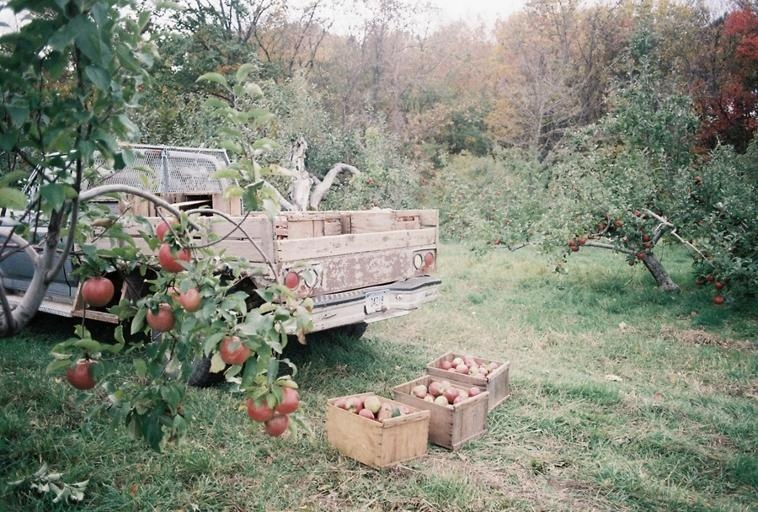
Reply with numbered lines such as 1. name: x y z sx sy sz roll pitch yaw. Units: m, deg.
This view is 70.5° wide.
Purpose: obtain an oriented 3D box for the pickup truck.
1. pickup truck: -1.956 -0.240 6.732 4.946 2.172 3.021 6 8 27
